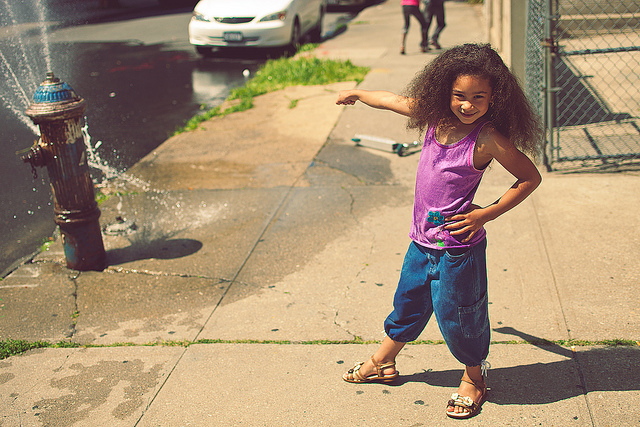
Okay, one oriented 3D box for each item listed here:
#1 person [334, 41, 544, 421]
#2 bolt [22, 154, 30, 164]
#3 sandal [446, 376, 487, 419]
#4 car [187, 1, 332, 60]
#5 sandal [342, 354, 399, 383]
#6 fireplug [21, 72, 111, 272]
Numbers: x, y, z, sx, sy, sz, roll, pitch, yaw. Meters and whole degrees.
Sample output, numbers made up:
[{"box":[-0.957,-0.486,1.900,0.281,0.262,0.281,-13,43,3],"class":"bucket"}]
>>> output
[{"box":[0.988,0.135,5.508,1.266,2.703,1.142,7,28,18],"class":"person"},{"box":[-2.805,-0.519,6.738,0.053,0.086,0.070,-22,32,-35],"class":"bolt"},{"box":[1.157,1.448,5.585,0.203,0.258,0.343,18,31,34],"class":"sandal"},{"box":[-0.997,-3.758,14.652,1.325,0.874,2.765,4,16,15],"class":"car"},{"box":[0.409,1.307,5.872,0.512,0.178,0.224,-2,1,11],"class":"sandal"},{"box":[-2.544,-0.353,7.010,0.818,1.903,0.621,-4,14,3],"class":"fireplug"}]
